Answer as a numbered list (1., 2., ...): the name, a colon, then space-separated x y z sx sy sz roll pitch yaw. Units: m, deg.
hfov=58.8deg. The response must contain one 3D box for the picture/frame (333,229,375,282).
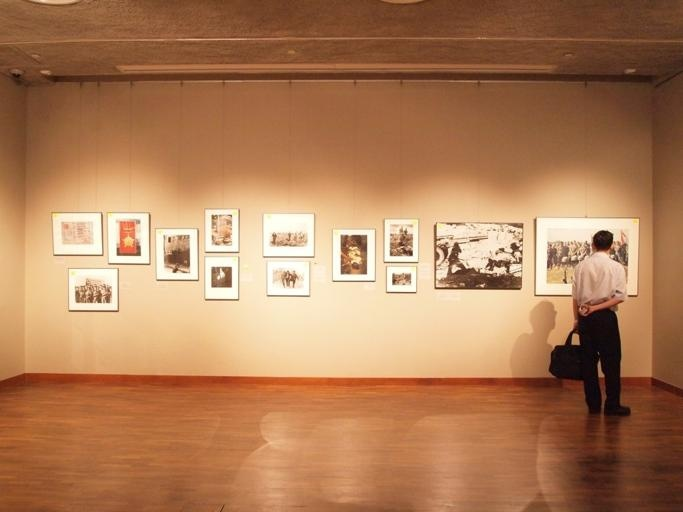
1. picture/frame: 0.221 0.032 10.237 0.844 0.996 0.048 1 -4 -2

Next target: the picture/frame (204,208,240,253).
1. picture/frame: -2.000 -0.417 10.306 0.731 0.931 0.032 1 1 3

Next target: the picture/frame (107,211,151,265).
1. picture/frame: -3.582 -0.288 10.349 0.888 1.096 0.038 0 -4 -2

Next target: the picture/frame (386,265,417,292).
1. picture/frame: 1.005 0.412 10.235 0.442 0.390 0.032 0 -4 -2

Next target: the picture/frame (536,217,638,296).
1. picture/frame: 4.004 0.055 9.823 1.268 0.955 0.020 1 -1 4

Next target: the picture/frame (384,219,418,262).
1. picture/frame: 1.008 -0.233 10.247 0.687 0.816 0.028 1 1 -1

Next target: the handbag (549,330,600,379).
1. handbag: 3.557 1.520 9.198 0.821 1.056 0.466 2 -16 22

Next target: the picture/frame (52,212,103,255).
1. picture/frame: -4.486 -0.357 10.386 0.718 0.636 0.047 0 -4 -2

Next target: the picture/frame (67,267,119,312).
1. picture/frame: -4.200 0.604 10.362 0.744 0.655 0.017 0 -3 0
